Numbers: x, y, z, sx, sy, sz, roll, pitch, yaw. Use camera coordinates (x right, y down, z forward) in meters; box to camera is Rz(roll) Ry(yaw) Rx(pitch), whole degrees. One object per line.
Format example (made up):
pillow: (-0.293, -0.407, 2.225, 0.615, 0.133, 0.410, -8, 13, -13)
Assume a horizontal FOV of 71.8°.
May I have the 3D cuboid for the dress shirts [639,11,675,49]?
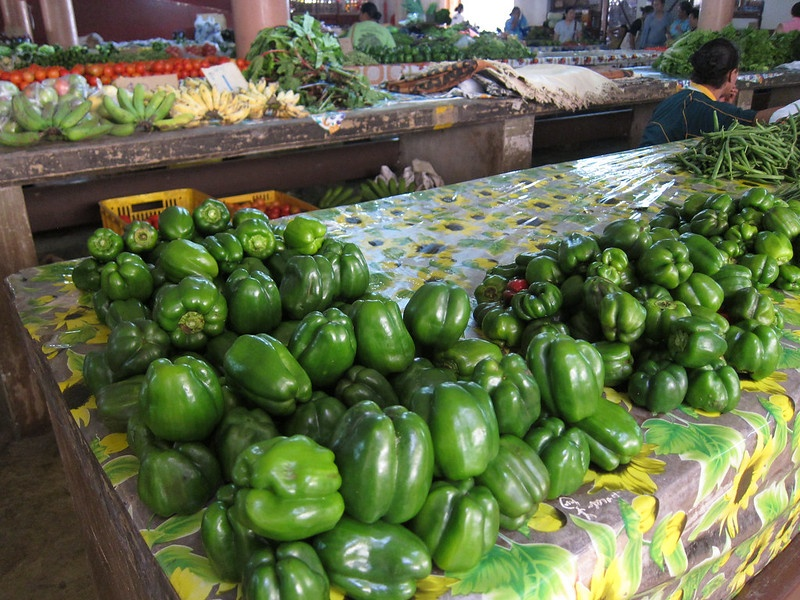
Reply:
dress shirts: (5.870, -6.209, 12.660, 0.653, 0.860, 0.314, 3, 60, 18)
